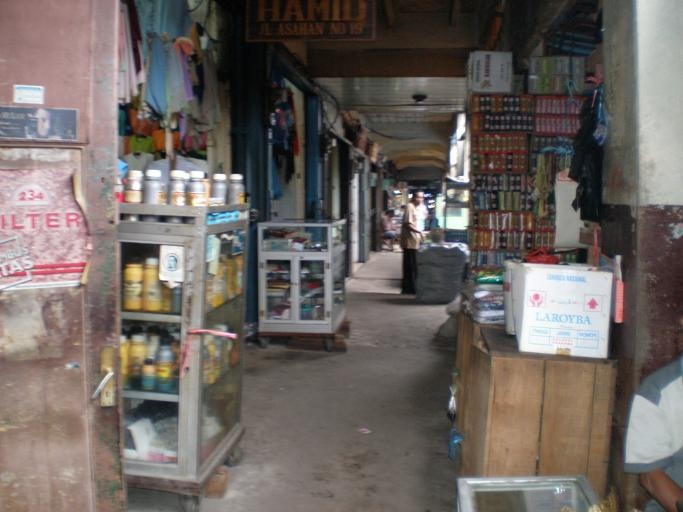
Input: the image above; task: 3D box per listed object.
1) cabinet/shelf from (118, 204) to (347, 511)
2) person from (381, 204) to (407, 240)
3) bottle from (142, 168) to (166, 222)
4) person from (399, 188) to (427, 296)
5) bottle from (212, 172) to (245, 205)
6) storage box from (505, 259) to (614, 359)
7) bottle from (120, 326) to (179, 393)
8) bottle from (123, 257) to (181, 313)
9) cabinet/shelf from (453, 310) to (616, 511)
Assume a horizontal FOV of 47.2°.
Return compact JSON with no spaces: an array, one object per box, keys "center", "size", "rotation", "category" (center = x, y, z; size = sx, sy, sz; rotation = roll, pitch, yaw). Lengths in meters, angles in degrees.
[{"center":[-0.706,0.709,5.190],"size":[0.873,2.023,2.036],"rotation":[2,1,7],"category":"cabinet/shelf"},{"center":[1.316,-0.898,20.627],"size":[0.948,1.051,1.587],"rotation":[1,5,6],"category":"person"},{"center":[-1.056,-0.390,4.381],"size":[0.117,0.185,0.243],"rotation":[-1,10,-12],"category":"bottle"},{"center":[1.099,-0.218,11.704],"size":[0.500,1.427,0.482],"rotation":[5,4,19],"category":"person"},{"center":[-0.721,-0.416,4.849],"size":[0.269,0.240,0.142],"rotation":[-2,6,-39],"category":"bottle"},{"center":[1.126,0.261,4.063],"size":[0.499,0.416,0.478],"rotation":[2,-2,9],"category":"storage box"},{"center":[-1.084,0.598,4.418],"size":[0.391,0.376,0.211],"rotation":[-3,-20,6],"category":"bottle"},{"center":[-1.065,0.156,4.383],"size":[0.355,0.300,0.089],"rotation":[3,10,11],"category":"bottle"},{"center":[1.017,0.791,4.328],"size":[0.727,0.873,1.304],"rotation":[3,-3,5],"category":"cabinet/shelf"}]
